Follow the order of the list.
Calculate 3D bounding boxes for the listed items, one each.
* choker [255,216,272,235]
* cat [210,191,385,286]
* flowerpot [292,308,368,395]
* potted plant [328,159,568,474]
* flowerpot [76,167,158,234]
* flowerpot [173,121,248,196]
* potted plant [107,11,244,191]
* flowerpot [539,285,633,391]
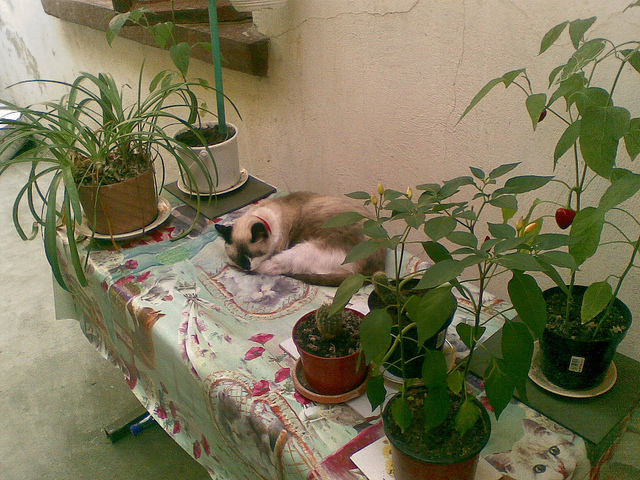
[{"bbox_3d":[-0.165,-0.042,1.419,0.016,0.066,0.065,-20,17,-14],"label":"choker"},{"bbox_3d":[-0.068,-0.008,1.404,0.358,0.133,0.271,-13,37,-15],"label":"cat"},{"bbox_3d":[0.001,0.252,1.082,0.170,0.124,0.180,-8,24,-10],"label":"flowerpot"},{"bbox_3d":[0.269,0.172,1.000,0.400,0.567,0.434,1,38,5],"label":"potted plant"},{"bbox_3d":[-0.600,-0.119,1.525,0.234,0.179,0.232,-3,5,-18],"label":"flowerpot"},{"bbox_3d":[-0.381,-0.274,1.674,0.242,0.183,0.254,0,30,10],"label":"flowerpot"},{"bbox_3d":[-0.386,-0.438,1.621,0.276,0.516,0.337,-10,7,16],"label":"potted plant"},{"bbox_3d":[0.593,0.214,1.153,0.201,0.180,0.232,11,34,19],"label":"flowerpot"}]
